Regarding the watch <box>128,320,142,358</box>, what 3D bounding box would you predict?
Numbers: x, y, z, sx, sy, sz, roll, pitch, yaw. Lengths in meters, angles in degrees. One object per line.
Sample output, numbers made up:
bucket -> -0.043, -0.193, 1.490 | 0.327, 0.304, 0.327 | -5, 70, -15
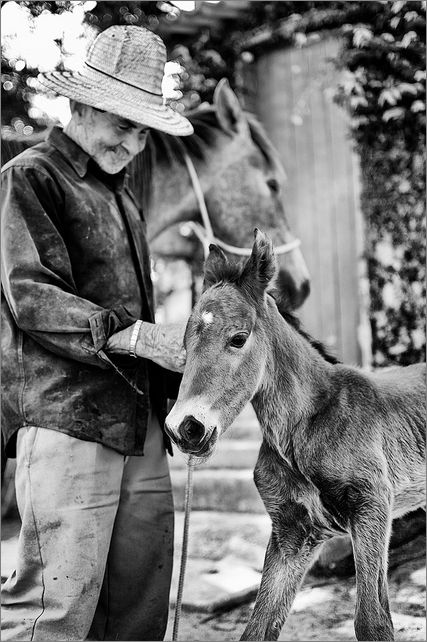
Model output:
watch -> -0.201, 0.053, 2.897 | 0.028, 0.107, 0.061 | 6, 13, 5
